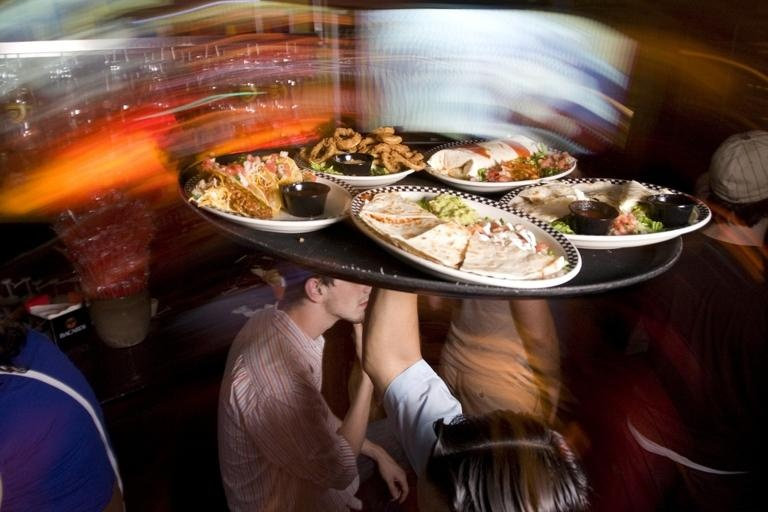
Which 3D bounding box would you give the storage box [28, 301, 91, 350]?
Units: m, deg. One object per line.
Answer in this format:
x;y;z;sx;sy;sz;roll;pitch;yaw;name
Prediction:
-1.751;0.357;2.709;0.289;0.255;0.291;-1;18;42;storage box

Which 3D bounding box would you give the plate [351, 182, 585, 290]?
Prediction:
0.297;-0.071;1.888;0.655;0.078;0.502;27;28;36;plate

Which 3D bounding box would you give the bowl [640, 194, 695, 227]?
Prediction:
1.244;-0.204;2.094;0.160;0.074;0.190;-3;14;-5;bowl

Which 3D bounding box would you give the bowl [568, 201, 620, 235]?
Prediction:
0.869;-0.164;1.986;0.192;0.104;0.173;8;24;15;bowl

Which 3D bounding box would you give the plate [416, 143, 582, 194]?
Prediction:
0.583;-0.527;2.638;0.599;0.587;0.117;-2;73;7;plate

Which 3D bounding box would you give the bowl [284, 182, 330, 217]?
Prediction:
-0.341;-0.247;2.067;0.205;0.081;0.178;1;23;-7;bowl

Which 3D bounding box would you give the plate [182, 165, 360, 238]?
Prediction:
-0.508;-0.238;2.076;0.748;0.125;0.444;-5;40;-3;plate
